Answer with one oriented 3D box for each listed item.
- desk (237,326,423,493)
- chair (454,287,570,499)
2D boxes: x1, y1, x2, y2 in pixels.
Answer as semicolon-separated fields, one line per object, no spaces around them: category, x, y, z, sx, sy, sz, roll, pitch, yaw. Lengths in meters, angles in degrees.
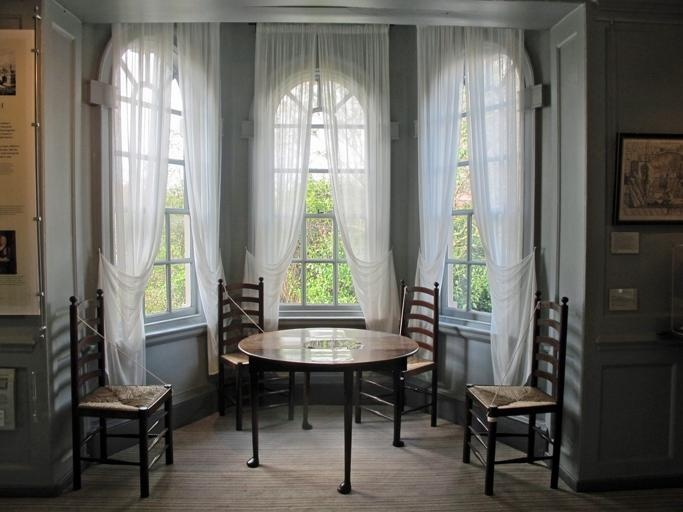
desk;-0.097;0.971;4.821;1.134;0.807;1.192;3;3;24
chair;1.357;0.975;4.813;0.780;1.418;0.832;0;12;1
